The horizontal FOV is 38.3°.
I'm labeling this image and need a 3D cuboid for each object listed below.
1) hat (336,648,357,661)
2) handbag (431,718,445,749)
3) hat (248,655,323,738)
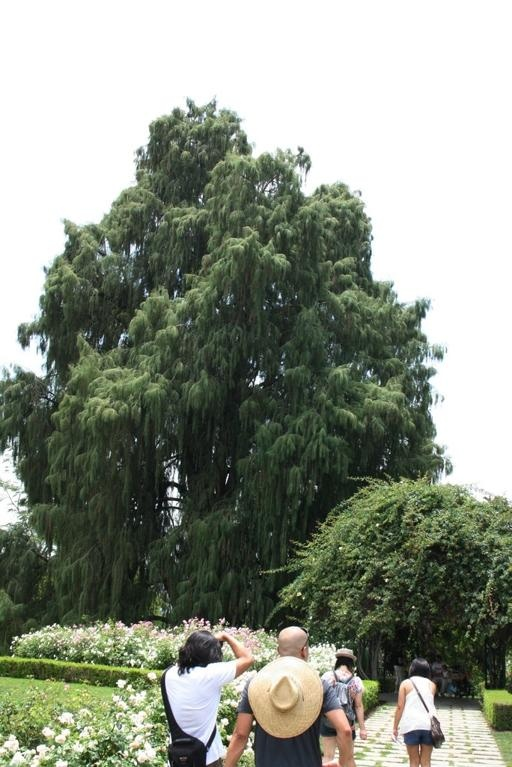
[{"bbox_3d":[0.709,2.126,5.770,0.165,0.093,0.200,1,-6,20],"label":"hat"},{"bbox_3d":[1.373,2.639,5.583,0.082,0.233,0.371,-3,-19,14],"label":"handbag"},{"bbox_3d":[0.117,1.192,2.794,0.295,0.289,0.234,0,-15,-2],"label":"hat"}]
